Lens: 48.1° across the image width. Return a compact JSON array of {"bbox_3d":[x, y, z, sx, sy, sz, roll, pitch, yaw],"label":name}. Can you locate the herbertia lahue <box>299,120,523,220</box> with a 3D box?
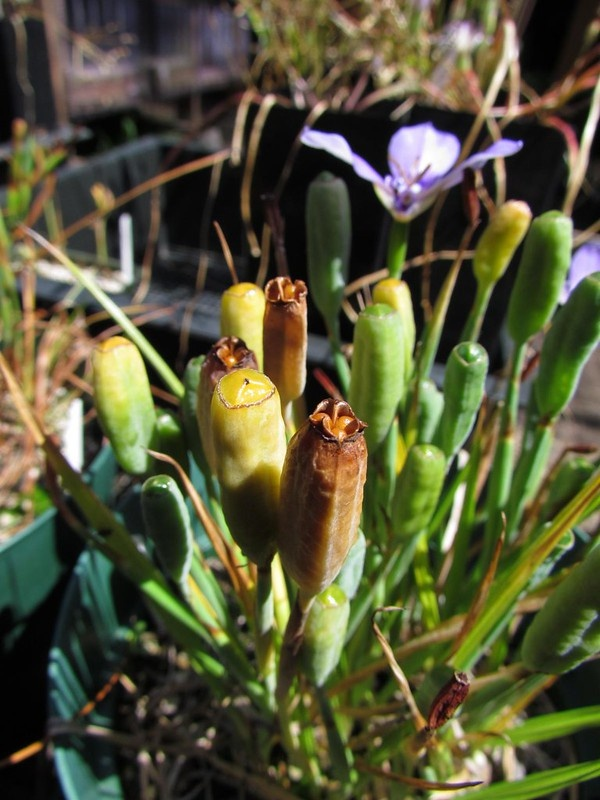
[{"bbox_3d":[0.068,-0.131,0.407,0.104,0.050,0.099,8,16,41],"label":"herbertia lahue"}]
